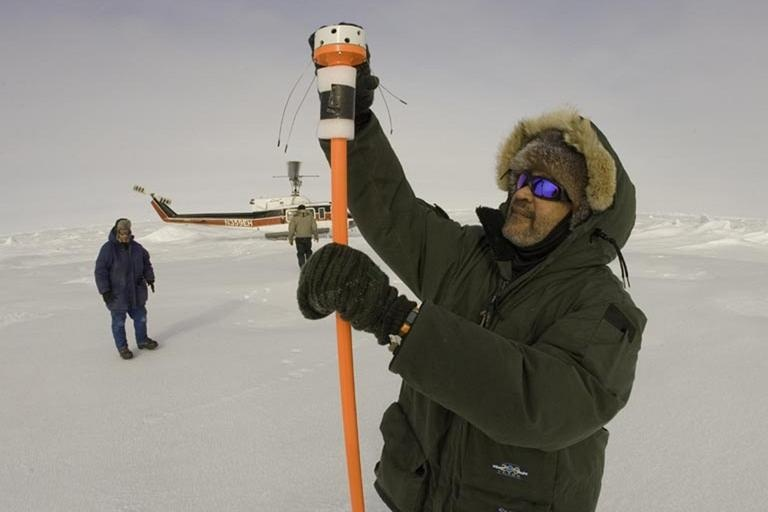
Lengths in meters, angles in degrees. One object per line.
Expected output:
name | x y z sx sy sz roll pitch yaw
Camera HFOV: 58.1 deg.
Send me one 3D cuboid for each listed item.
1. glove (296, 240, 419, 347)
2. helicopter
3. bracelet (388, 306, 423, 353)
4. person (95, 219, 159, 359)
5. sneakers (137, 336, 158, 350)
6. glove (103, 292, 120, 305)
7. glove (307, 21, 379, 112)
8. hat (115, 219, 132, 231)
glove | -0.263 0.339 6.185 1.091 0.733 0.464 27 -17 13
helicopter | -5.231 -1.544 26.020 5.878 2.276 5.415 -1 5 3
bracelet | 0.206 0.637 6.226 0.119 0.362 0.360 35 30 14
person | -3.932 0.477 10.598 0.384 2.107 0.826 7 15 41
sneakers | -3.696 1.368 10.890 0.302 0.218 0.167 -5 14 -5
glove | -4.140 0.639 10.393 0.208 0.212 0.110 -1 11 7
glove | -0.350 -1.673 6.242 0.581 0.793 0.839 -3 12 -2
hat | -3.913 -0.463 10.366 0.207 0.175 0.201 -8 13 -24
